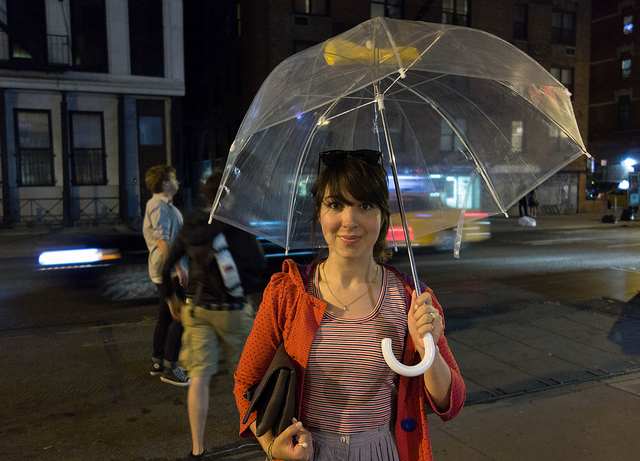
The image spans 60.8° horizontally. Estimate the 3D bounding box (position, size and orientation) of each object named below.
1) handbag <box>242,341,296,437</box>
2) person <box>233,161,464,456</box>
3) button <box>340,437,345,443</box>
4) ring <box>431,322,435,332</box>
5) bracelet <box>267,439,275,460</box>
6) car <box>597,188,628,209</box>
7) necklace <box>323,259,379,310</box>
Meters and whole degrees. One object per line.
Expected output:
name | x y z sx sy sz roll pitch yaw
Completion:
handbag | -0.270 0.869 3.473 0.326 0.592 0.718 10 -9 -7
person | 0.169 0.537 3.546 1.413 1.929 0.753 2 9 15
button | 0.145 1.377 3.534 0.026 0.032 0.007 -2 -12 -1
ring | 0.715 0.626 3.459 0.015 0.058 0.036 5 -6 -41
bracelet | -0.317 1.413 3.471 0.048 0.133 0.021 3 10 25
car | 20.656 -2.170 38.222 2.268 1.362 1.475 -5 4 8
necklace | 0.198 0.379 3.635 0.248 0.338 0.021 8 -20 1
